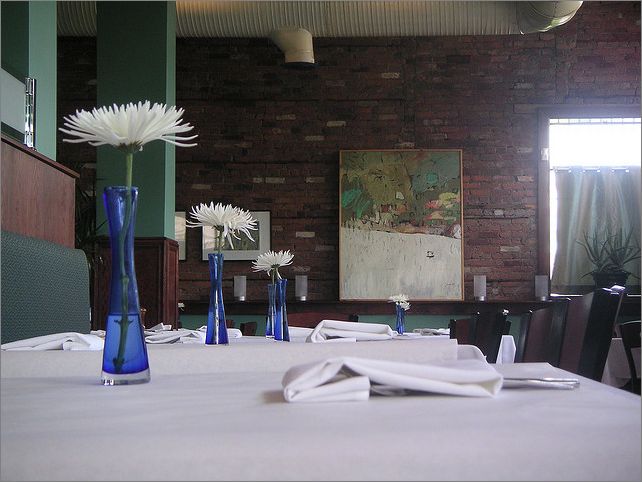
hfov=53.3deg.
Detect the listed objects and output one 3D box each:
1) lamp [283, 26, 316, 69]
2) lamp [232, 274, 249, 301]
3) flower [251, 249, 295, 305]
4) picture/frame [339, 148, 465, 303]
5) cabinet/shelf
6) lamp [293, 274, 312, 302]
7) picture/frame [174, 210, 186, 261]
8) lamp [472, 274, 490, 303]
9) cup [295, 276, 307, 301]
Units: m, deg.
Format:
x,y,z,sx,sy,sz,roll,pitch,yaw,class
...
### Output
x,y,z,sx,sy,sz,roll,pitch,yaw,class
-0.241,-2.040,6.628,0.350,0.428,0.336,-3,1,-1,lamp
-0.859,0.493,6.723,0.196,0.387,0.207,0,-2,-13,lamp
-0.196,0.163,2.834,0.190,0.253,0.192,-8,-1,33,flower
0.867,-0.104,6.823,1.361,1.898,0.061,0,-3,1,picture/frame
-1.355,0.428,4.859,0.484,0.908,0.517,-2,-2,6,cabinet/shelf
-0.201,0.500,6.756,0.190,0.389,0.208,0,-4,1,lamp
-1.561,-0.061,7.029,0.017,0.561,0.363,-3,3,-33,picture/frame
1.649,0.483,6.725,0.191,0.397,0.211,-1,-4,4,lamp
-0.212,0.494,6.841,0.135,0.257,0.254,0,1,-1,cup
